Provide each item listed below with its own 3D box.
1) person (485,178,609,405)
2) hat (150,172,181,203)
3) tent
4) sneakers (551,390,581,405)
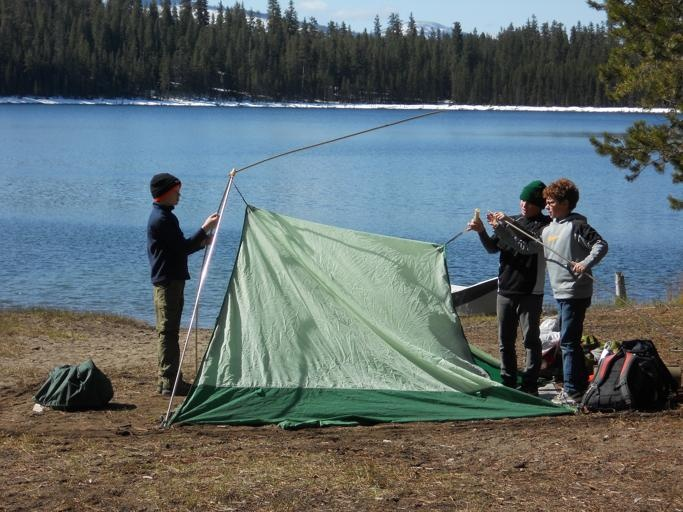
[{"bbox_3d":[4.256,0.675,22.674,0.721,4.075,1.169,-7,14,-36],"label":"person"},{"bbox_3d":[-3.342,-1.319,23.153,0.529,0.434,0.503,-8,-7,-38],"label":"hat"},{"bbox_3d":[0.036,1.036,23.314,6.085,3.304,4.035,0,1,13],"label":"tent"},{"bbox_3d":[4.209,2.646,22.712,0.584,0.298,0.228,5,0,20],"label":"sneakers"}]
